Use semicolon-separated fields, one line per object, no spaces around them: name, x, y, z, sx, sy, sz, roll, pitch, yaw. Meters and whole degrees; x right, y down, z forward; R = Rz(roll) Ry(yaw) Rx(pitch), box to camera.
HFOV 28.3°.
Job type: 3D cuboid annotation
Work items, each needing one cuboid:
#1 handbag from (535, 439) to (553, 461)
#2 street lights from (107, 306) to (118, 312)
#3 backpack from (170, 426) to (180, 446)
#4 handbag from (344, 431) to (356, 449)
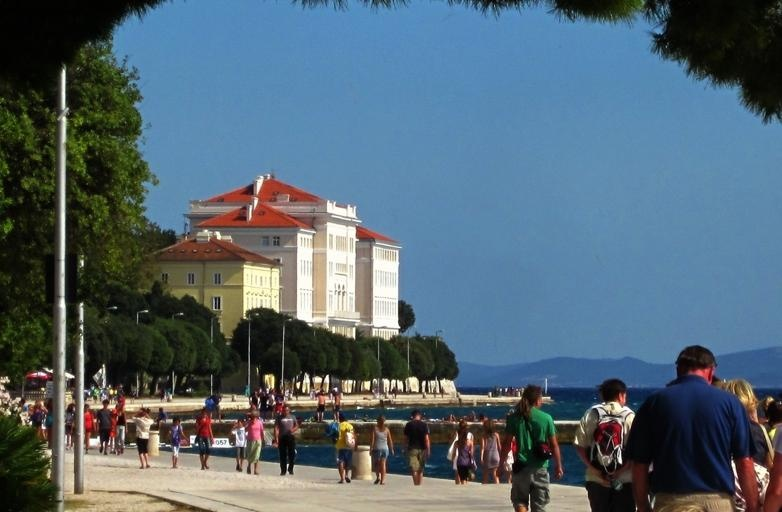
handbag;2.461;3.152;25.114;0.285;0.251;0.428;10;4;-8
street lights;-20.042;3.867;111.822;0.408;0.414;1.451;-2;-3;-42
backpack;-5.967;5.002;42.964;0.229;0.554;0.286;4;-11;-16
handbag;-1.014;4.471;37.454;0.393;0.556;0.183;1;2;1
